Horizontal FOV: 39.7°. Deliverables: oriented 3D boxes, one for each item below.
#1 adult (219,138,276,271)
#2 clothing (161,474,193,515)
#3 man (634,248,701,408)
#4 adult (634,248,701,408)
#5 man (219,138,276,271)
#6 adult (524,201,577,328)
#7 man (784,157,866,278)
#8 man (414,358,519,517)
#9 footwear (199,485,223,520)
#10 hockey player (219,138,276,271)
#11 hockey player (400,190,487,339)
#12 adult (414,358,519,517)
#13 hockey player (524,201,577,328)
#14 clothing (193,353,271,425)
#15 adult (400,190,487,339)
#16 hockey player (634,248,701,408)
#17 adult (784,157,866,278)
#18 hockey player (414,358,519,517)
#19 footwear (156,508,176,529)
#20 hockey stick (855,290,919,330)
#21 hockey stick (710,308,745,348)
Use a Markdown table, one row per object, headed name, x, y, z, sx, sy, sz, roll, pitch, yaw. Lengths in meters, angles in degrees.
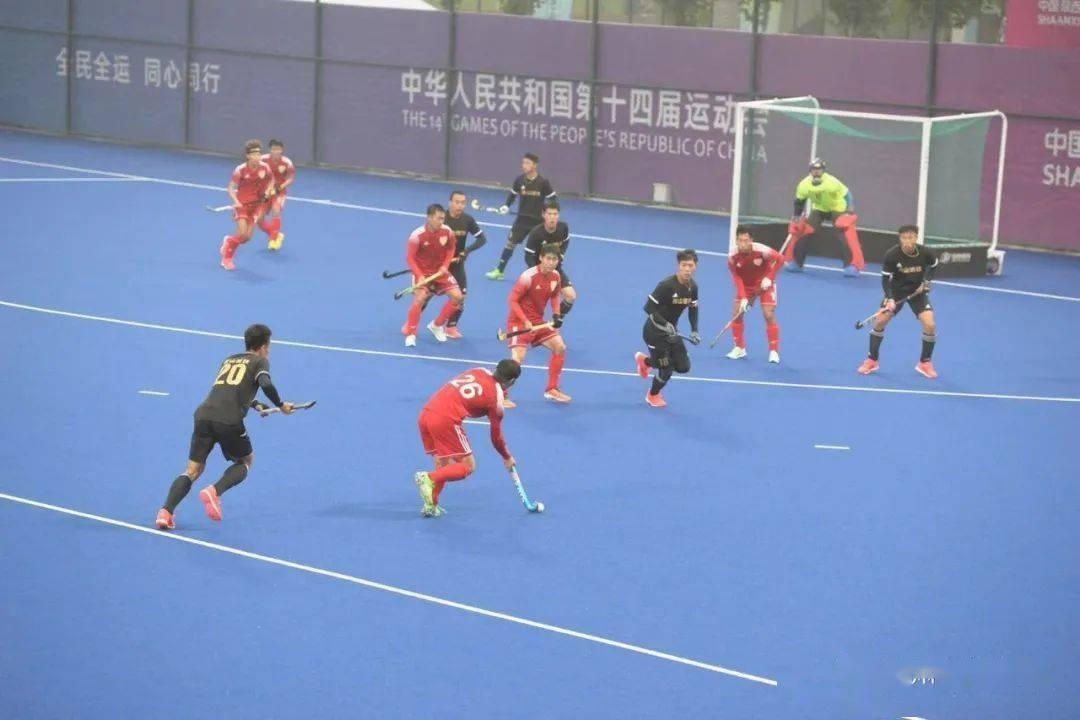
| name | x | y | z | sx | sy | sz | roll | pitch | yaw |
| --- | --- | --- | --- | --- | --- | --- | --- | --- | --- |
| adult | -5.442 | -2.916 | 27.864 | 0.782 | 2.368 | 1.545 | 6 | 6 | -3 |
| clothing | -4.424 | 1.595 | 18.266 | 0.339 | 0.518 | 0.396 | 5 | 6 | -15 |
| man | 1.897 | -0.466 | 21.601 | 0.784 | 2.310 | 0.718 | 6 | 6 | 3 |
| adult | 1.898 | -0.466 | 21.604 | 0.784 | 2.310 | 0.724 | 6 | 6 | 3 |
| man | -5.444 | -2.916 | 27.864 | 0.778 | 2.368 | 1.550 | 6 | 6 | -2 |
| adult | 0.176 | -1.473 | 24.307 | 0.974 | 2.289 | 0.871 | -13 | 21 | -33 |
| man | 5.370 | -2.770 | 28.596 | 1.622 | 2.270 | 1.374 | 3 | 22 | 30 |
| man | -0.999 | 0.941 | 18.972 | 1.001 | 2.060 | 1.700 | 18 | 20 | 41 |
| footwear | -4.001 | 1.733 | 18.215 | 0.261 | 0.477 | 0.392 | 6 | 6 | -4 |
| hockey player | -5.444 | -2.916 | 27.856 | 0.775 | 2.368 | 1.537 | 6 | 6 | -2 |
| hockey player | -1.737 | -1.490 | 23.794 | 1.552 | 2.497 | 1.011 | -21 | 35 | -31 |
| adult | -0.923 | 1.063 | 19.283 | 1.583 | 1.988 | 1.051 | -10 | 30 | -41 |
| hockey player | 0.173 | -1.472 | 24.304 | 0.926 | 2.321 | 0.903 | -13 | 22 | -31 |
| clothing | -3.759 | 0.303 | 18.200 | 0.801 | 0.823 | 0.470 | 5 | 6 | -14 |
| adult | -1.713 | -1.501 | 23.814 | 1.647 | 2.504 | 0.983 | -20 | 35 | -28 |
| hockey player | 1.897 | -0.466 | 21.601 | 0.784 | 2.310 | 0.718 | 6 | 6 | 3 |
| adult | 5.421 | -2.795 | 28.618 | 1.585 | 2.274 | 1.296 | 4 | 22 | 30 |
| hockey player | -1.058 | 0.944 | 18.971 | 1.549 | 2.072 | 1.041 | -7 | 18 | -42 |
| footwear | -4.537 | 1.896 | 18.111 | 0.174 | 0.273 | 0.267 | 3 | -11 | -5 |
| hockey stick | 5.729 | -0.817 | 24.502 | 1.059 | 0.120 | 0.253 | -34 | 33 | -5 |
| hockey stick | 3.078 | -0.515 | 24.410 | 0.128 | 0.915 | 0.125 | 45 | 40 | 16 |
